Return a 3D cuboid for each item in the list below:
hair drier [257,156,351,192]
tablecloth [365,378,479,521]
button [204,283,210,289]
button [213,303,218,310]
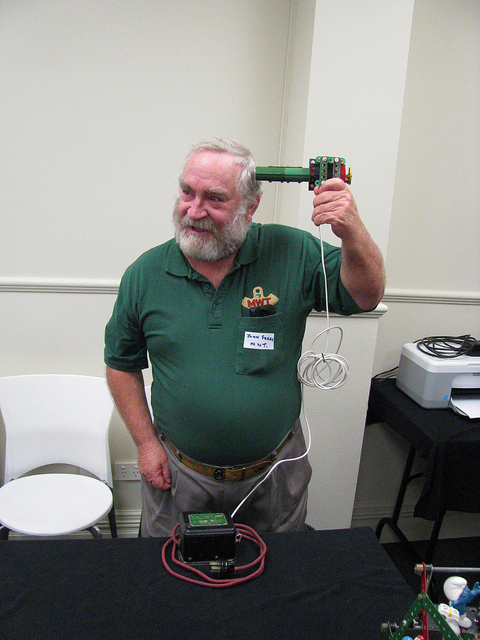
[{"bbox_3d":[0.149,-0.348,1.331,0.221,0.079,0.128,4,11,8],"label":"hair drier"},{"bbox_3d":[0.711,0.458,2.182,0.323,0.240,0.404,1,16,-7],"label":"tablecloth"},{"bbox_3d":[-0.082,-0.085,1.418,0.013,0.012,0.005,2,9,0],"label":"button"},{"bbox_3d":[-0.061,-0.034,1.401,0.010,0.016,0.005,2,0,3],"label":"button"}]
